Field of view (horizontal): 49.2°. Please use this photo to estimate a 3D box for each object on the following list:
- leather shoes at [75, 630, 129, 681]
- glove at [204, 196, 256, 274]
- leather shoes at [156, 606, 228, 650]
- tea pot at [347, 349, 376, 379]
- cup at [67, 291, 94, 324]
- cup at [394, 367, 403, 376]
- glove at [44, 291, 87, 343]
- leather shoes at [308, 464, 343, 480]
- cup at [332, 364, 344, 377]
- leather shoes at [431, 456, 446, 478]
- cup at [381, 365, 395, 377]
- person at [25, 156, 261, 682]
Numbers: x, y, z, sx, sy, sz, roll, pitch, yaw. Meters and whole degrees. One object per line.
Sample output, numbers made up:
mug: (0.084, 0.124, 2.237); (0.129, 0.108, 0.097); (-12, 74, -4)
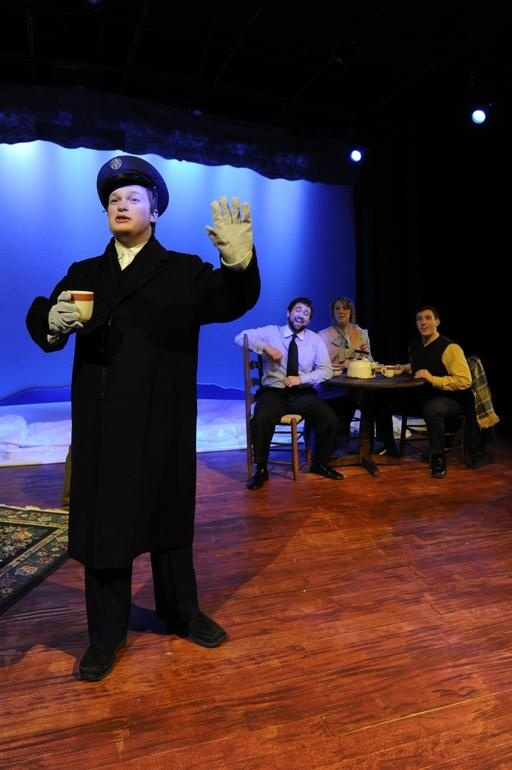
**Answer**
leather shoes: (-0.463, 0.823, 1.675); (0.060, 0.081, 0.187); (-1, -15, 6)
glove: (-0.076, -0.387, 1.419); (0.107, 0.175, 0.045); (-15, 28, -22)
leather shoes: (-0.225, 0.791, 1.892); (0.258, 0.117, 0.088); (-2, 1, 39)
tea pot: (0.767, -0.156, 4.170); (0.183, 0.232, 0.316); (0, -2, 6)
cup: (-0.428, -0.198, 1.400); (0.066, 0.081, 0.069); (0, 5, 0)
cup: (1.087, -0.099, 4.255); (0.074, 0.062, 0.081); (-1, 1, 0)
glove: (-0.482, -0.170, 1.427); (0.084, 0.121, 0.047); (-4, -1, 0)
leather shoes: (0.492, 0.605, 3.956); (0.238, 0.099, 0.082); (2, 4, 44)
cup: (0.676, -0.126, 4.627); (0.086, 0.104, 0.115); (1, -31, 9)
leather shoes: (1.299, 0.578, 3.991); (0.100, 0.139, 0.198); (1, 5, 16)
cup: (0.987, -0.101, 4.195); (0.085, 0.088, 0.060); (-3, 1, 26)
person: (-0.319, 0.094, 1.607); (0.651, 1.554, 0.527); (0, 5, 0)
